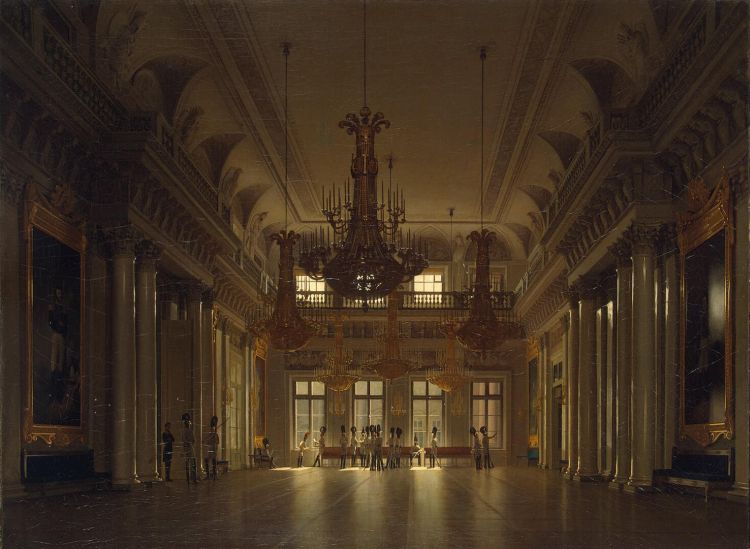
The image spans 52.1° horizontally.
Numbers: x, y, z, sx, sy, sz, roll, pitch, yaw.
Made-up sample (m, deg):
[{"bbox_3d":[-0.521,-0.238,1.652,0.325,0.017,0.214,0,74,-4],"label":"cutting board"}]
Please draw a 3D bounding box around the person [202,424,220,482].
[{"bbox_3d":[-3.909,4.218,18.217,0.345,1.326,1.943,4,-19,-12],"label":"person"}]

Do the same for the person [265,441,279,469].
[{"bbox_3d":[-3.672,6.389,26.888,0.164,1.080,0.557,-12,28,-14],"label":"person"}]
